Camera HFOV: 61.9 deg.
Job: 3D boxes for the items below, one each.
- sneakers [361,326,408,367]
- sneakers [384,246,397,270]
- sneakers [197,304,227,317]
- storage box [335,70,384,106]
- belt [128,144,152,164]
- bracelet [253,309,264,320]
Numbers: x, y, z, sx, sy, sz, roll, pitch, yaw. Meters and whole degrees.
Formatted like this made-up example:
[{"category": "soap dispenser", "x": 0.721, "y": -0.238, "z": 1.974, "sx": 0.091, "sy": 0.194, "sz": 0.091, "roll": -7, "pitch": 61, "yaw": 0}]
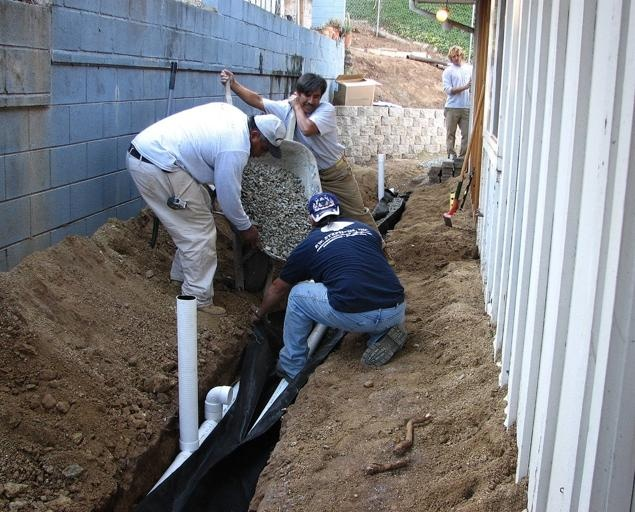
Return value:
[{"category": "sneakers", "x": 0.500, "y": 0.653, "z": 3.930, "sx": 0.417, "sy": 0.181, "sz": 0.197, "roll": -39, "pitch": -5, "yaw": -20}, {"category": "sneakers", "x": 0.755, "y": 0.019, "z": 5.478, "sx": 0.085, "sy": 0.247, "sz": 0.067, "roll": 9, "pitch": -24, "yaw": -19}, {"category": "sneakers", "x": -0.890, "y": 0.454, "z": 4.452, "sx": 0.229, "sy": 0.122, "sz": 0.087, "roll": 0, "pitch": 17, "yaw": 1}, {"category": "storage box", "x": 0.889, "y": -3.762, "z": 12.110, "sx": 0.901, "sy": 0.703, "sz": 0.786, "roll": -5, "pitch": 27, "yaw": -13}, {"category": "belt", "x": -1.399, "y": -0.820, "z": 4.158, "sx": 0.149, "sy": 0.059, "sz": 0.203, "roll": 35, "pitch": 3, "yaw": 2}, {"category": "bracelet", "x": -0.495, "y": 0.489, "z": 4.444, "sx": 0.053, "sy": 0.099, "sz": 0.083, "roll": 13, "pitch": -15, "yaw": -5}]
